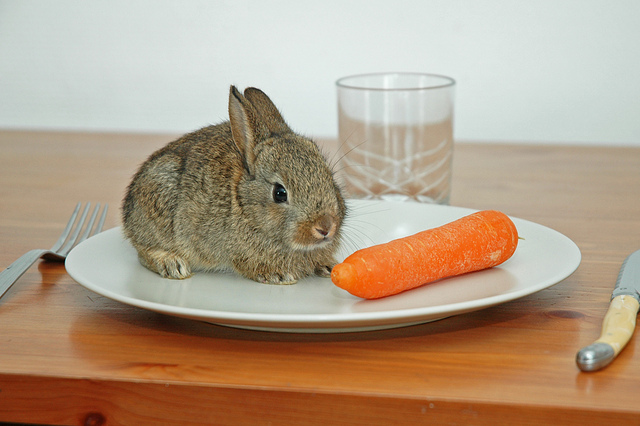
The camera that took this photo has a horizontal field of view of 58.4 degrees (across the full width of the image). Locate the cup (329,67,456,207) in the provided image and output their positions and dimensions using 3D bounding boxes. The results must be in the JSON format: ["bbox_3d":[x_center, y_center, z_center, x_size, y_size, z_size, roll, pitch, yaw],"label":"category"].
[{"bbox_3d":[0.235,-0.288,2.091,0.460,0.477,0.458,-1,17,0],"label":"cup"}]

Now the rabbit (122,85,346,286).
[{"bbox_3d":[-0.216,-0.090,1.512,0.680,0.479,0.437,20,31,37],"label":"rabbit"}]
